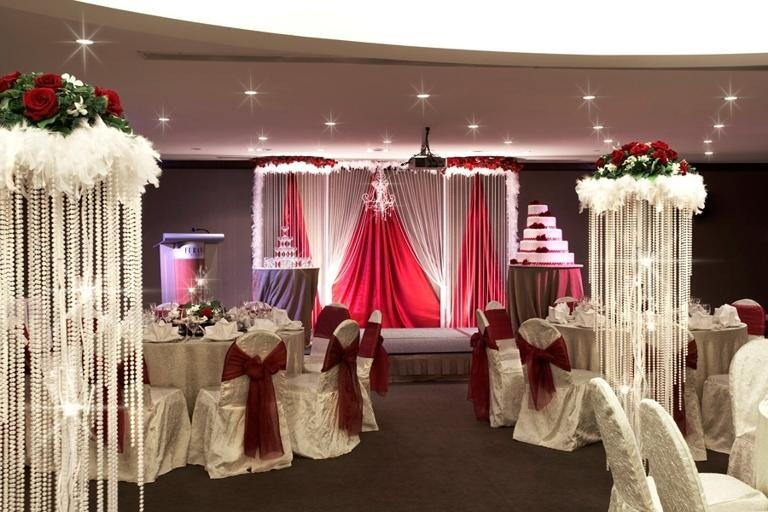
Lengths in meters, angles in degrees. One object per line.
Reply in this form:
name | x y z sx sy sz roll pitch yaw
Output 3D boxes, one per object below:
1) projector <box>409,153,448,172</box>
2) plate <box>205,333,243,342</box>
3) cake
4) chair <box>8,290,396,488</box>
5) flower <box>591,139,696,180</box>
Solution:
projector | 0.540 -1.206 8.714 0.450 0.189 0.247 0 10 0
plate | -1.396 0.706 5.793 0.195 0.037 0.137 -4 -4 3
cake | 2.202 -0.330 9.864 0.846 0.939 0.875 -3 -1 42
chair | -1.171 1.145 5.712 2.004 1.199 0.767 -2 11 -13
flower | 2.058 -0.750 5.347 0.749 0.281 0.359 4 11 20
